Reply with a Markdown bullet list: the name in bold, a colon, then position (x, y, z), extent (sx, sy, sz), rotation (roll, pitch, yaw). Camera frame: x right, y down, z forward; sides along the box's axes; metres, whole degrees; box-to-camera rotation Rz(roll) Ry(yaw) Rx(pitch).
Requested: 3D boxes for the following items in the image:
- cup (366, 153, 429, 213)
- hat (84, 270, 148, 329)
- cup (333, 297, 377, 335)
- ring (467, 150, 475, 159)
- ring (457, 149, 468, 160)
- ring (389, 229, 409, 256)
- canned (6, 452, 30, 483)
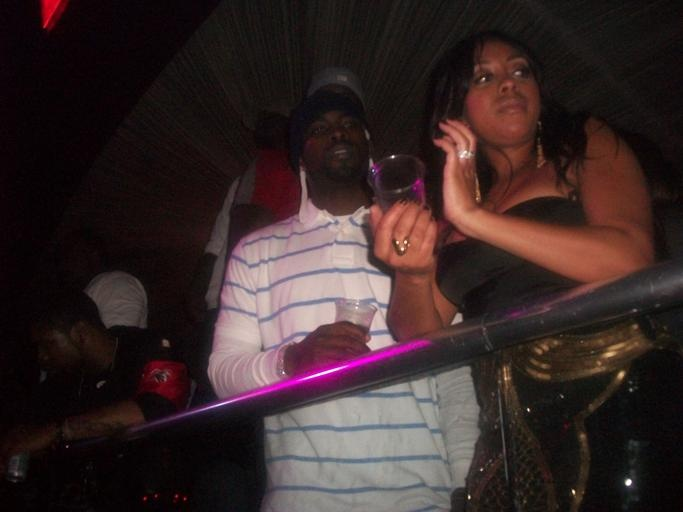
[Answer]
- **cup**: position (0.231, -0.265, 2.196), extent (0.212, 0.196, 0.157), rotation (-3, -25, 20)
- **hat**: position (-1.468, 0.311, 3.769), extent (0.245, 0.422, 0.431), rotation (1, 13, 29)
- **cup**: position (0.042, 0.231, 2.232), extent (0.141, 0.105, 0.136), rotation (16, -17, 5)
- **ring**: position (0.480, -0.375, 2.103), extent (0.024, 0.023, 0.007), rotation (23, -3, -13)
- **ring**: position (0.447, -0.374, 2.104), extent (0.039, 0.028, 0.022), rotation (-4, -24, 13)
- **ring**: position (0.221, -0.035, 2.119), extent (0.070, 0.064, 0.035), rotation (-2, 11, 1)
- **canned**: position (-1.005, 0.664, 1.762), extent (0.062, 0.084, 0.059), rotation (10, -25, -30)
